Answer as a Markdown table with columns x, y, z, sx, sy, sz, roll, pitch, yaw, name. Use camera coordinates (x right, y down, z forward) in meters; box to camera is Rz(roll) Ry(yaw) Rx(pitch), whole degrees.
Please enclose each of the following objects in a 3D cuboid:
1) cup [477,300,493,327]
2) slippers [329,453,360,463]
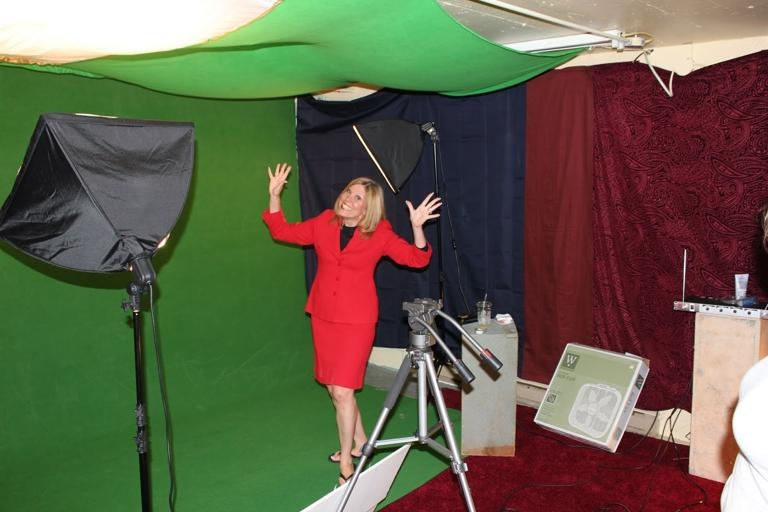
| x | y | z | sx | sy | sz | roll | pitch | yaw | name |
| --- | --- | --- | --- | --- | --- | --- | --- | --- | --- |
| 0.797 | 0.460 | 5.284 | 0.158 | 0.227 | 0.170 | -1 | 2 | 0 | cup |
| -0.308 | 1.572 | 5.150 | 0.255 | 0.065 | 0.104 | 8 | -6 | -39 | slippers |
